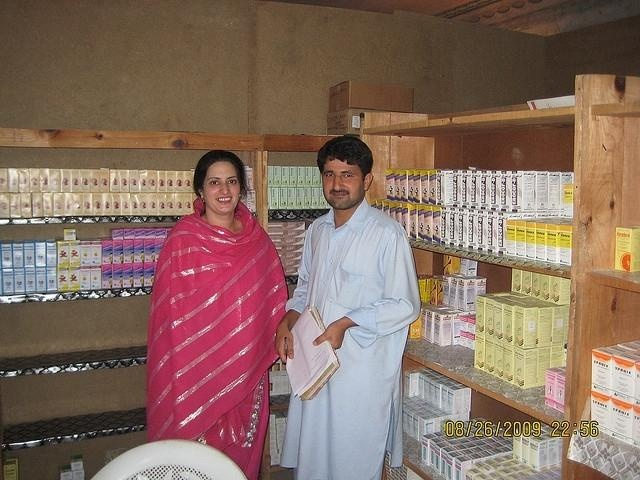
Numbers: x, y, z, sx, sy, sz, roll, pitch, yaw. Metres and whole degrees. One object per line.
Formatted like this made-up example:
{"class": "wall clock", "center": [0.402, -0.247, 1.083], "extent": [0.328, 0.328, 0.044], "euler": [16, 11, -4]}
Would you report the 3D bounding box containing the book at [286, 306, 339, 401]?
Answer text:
{"class": "book", "center": [-0.053, 0.583, 2.427], "extent": [0.120, 0.409, 0.414], "euler": [9, 38, -25]}
